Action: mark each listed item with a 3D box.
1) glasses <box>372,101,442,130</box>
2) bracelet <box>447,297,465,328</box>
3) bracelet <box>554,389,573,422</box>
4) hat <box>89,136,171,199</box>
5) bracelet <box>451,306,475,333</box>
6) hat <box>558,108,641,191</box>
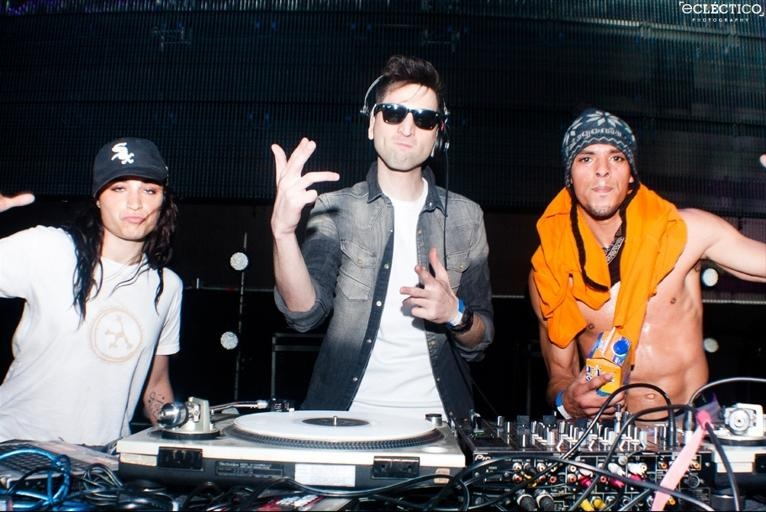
[{"bbox_3d":[0.127,-0.689,3.998,0.382,0.136,0.133,1,3,-2],"label":"glasses"},{"bbox_3d":[0.351,0.248,3.664,0.048,0.120,0.099,29,-25,-18],"label":"bracelet"},{"bbox_3d":[0.865,0.722,3.891,0.051,0.125,0.087,-25,-33,34],"label":"bracelet"},{"bbox_3d":[-1.305,-0.477,4.074,0.384,0.307,0.524,-7,3,-26],"label":"hat"},{"bbox_3d":[0.366,0.285,3.651,0.083,0.054,0.112,-13,4,5],"label":"bracelet"},{"bbox_3d":[1.170,-0.656,4.442,0.365,0.410,0.372,-25,25,-34],"label":"hat"}]
